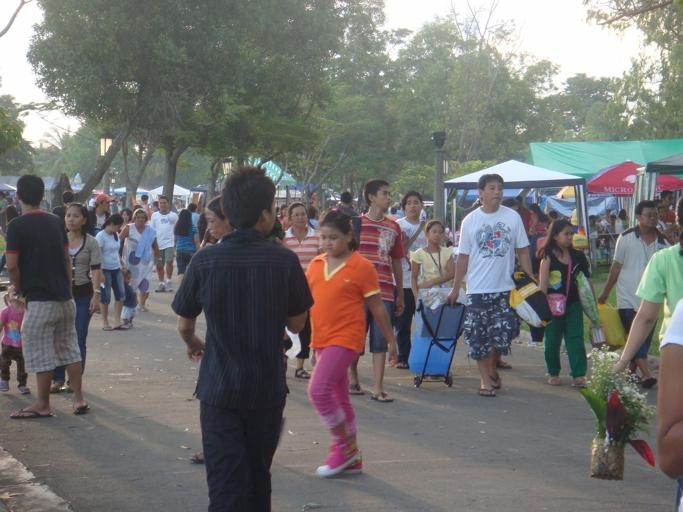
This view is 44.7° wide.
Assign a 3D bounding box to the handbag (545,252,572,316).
[{"bbox_3d":[2.679,0.371,10.169,0.442,0.712,0.202,-3,6,-39],"label":"handbag"}]

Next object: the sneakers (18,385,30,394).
[{"bbox_3d":[-3.604,1.513,9.413,0.058,0.068,0.170,1,-1,-31],"label":"sneakers"}]

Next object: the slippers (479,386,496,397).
[{"bbox_3d":[1.671,1.555,9.556,0.096,0.060,0.174,-2,0,-44],"label":"slippers"}]

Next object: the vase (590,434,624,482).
[{"bbox_3d":[1.822,1.400,5.713,0.301,0.335,0.304,4,-6,14],"label":"vase"}]

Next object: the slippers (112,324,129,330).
[{"bbox_3d":[-3.679,1.175,13.827,0.243,0.060,0.105,-4,-2,16],"label":"slippers"}]

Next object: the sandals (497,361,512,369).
[{"bbox_3d":[2.233,1.499,11.394,0.103,0.098,0.261,-6,4,-37],"label":"sandals"}]

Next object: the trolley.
[{"bbox_3d":[1.124,1.101,10.186,0.628,1.006,0.689,7,-6,6],"label":"trolley"}]

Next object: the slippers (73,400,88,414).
[{"bbox_3d":[-2.667,1.540,8.496,0.070,0.071,0.190,5,-43,-31],"label":"slippers"}]

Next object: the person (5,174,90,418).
[{"bbox_3d":[-2.999,0.398,8.442,0.768,2.428,0.458,-1,5,-22],"label":"person"}]

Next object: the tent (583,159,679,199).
[{"bbox_3d":[7.686,-2.088,22.418,1.775,0.666,1.682,0,1,2],"label":"tent"}]

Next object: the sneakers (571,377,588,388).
[{"bbox_3d":[2.847,1.509,9.986,0.082,0.081,0.184,-1,7,-12],"label":"sneakers"}]

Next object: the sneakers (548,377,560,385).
[{"bbox_3d":[2.602,1.552,10.286,0.070,0.077,0.178,1,-10,-13],"label":"sneakers"}]

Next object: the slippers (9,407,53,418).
[{"bbox_3d":[-3.148,1.586,8.356,0.355,0.099,0.139,5,-7,-17],"label":"slippers"}]

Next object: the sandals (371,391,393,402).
[{"bbox_3d":[0.447,1.546,9.194,0.109,0.064,0.177,3,-5,-35],"label":"sandals"}]

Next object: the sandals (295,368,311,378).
[{"bbox_3d":[-0.516,1.487,10.509,0.230,0.101,0.081,0,4,-4],"label":"sandals"}]

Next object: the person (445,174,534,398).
[{"bbox_3d":[1.718,0.314,9.717,0.943,2.550,0.563,1,5,7],"label":"person"}]

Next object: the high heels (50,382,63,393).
[{"bbox_3d":[-3.272,1.509,9.521,0.104,0.120,0.137,1,-24,-8],"label":"high heels"}]

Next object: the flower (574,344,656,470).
[{"bbox_3d":[1.815,1.112,5.569,0.415,0.903,0.564,1,4,1],"label":"flower"}]
